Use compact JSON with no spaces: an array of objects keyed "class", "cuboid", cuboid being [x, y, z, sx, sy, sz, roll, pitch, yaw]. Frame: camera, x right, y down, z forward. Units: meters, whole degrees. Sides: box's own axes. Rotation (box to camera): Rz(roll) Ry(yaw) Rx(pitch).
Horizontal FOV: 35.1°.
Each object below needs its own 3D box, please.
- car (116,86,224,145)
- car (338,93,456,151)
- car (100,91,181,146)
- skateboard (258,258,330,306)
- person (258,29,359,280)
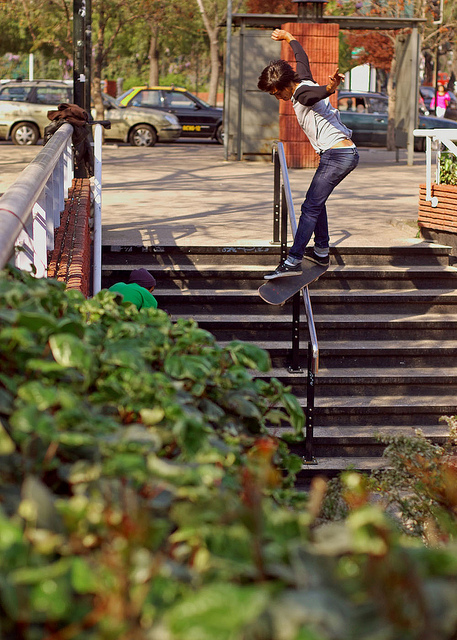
[{"class":"car","cuboid":[-1.727,-6.762,23.825,3.699,1.692,1.783,-3,12,-3]},{"class":"car","cuboid":[5.136,-6.501,23.678,3.003,1.810,3.336,4,14,5]},{"class":"car","cuboid":[-2.656,-5.948,22.046,2.396,1.310,1.363,3,14,-1]},{"class":"skateboard","cuboid":[0.624,-0.323,6.270,0.832,0.129,0.250,-32,57,-21]},{"class":"person","cuboid":[0.711,-1.388,6.396,0.843,2.324,1.248,5,14,9]}]
